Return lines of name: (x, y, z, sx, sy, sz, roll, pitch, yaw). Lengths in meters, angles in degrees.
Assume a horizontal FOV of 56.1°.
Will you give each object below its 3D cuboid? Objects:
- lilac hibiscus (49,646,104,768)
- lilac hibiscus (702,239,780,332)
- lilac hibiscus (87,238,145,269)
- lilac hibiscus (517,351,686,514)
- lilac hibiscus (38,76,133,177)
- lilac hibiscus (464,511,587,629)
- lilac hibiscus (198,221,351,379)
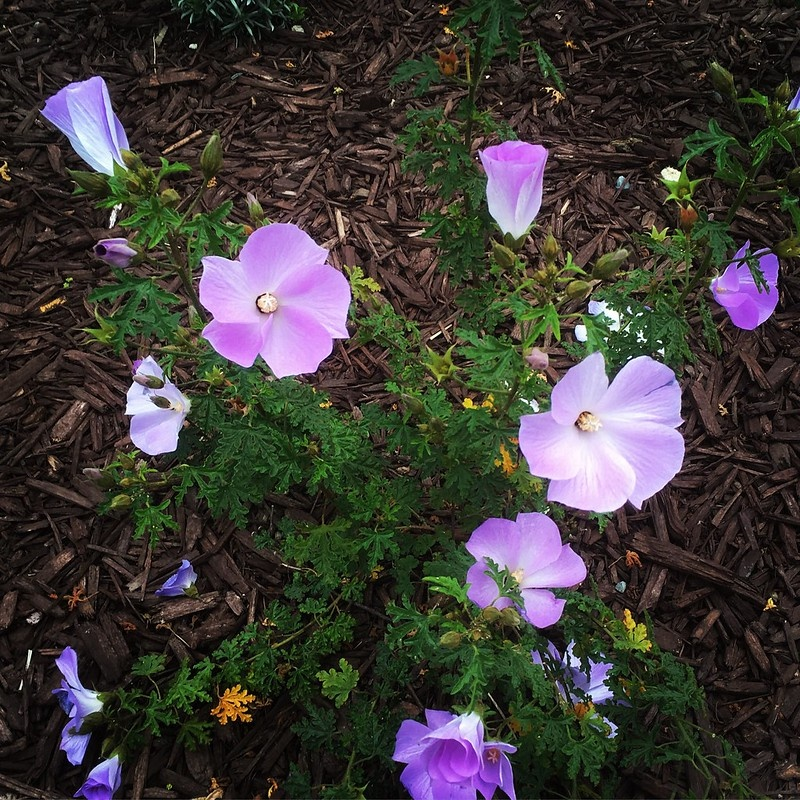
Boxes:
lilac hibiscus: (-1.264, 1.185, 2.929, 0.185, 0.400, 0.390, 2, 111, -16)
lilac hibiscus: (1.246, -0.394, 2.701, 0.169, 0.307, 0.320, 13, 92, 37)
lilac hibiscus: (-0.858, -0.434, 2.252, 0.078, 0.132, 0.061, -9, 93, 21)
lilac hibiscus: (0.560, 0.093, 2.068, 0.475, 0.238, 0.415, -2, 79, -1)
lilac hibiscus: (-0.937, -0.809, 2.293, 0.227, 0.194, 0.322, -20, 71, 9)
lilac hibiscus: (0.407, 0.539, 2.453, 0.396, 0.320, 0.348, 18, 80, 3)
lilac hibiscus: (-0.331, -0.297, 2.160, 0.426, 0.382, 0.172, 24, 40, -10)
